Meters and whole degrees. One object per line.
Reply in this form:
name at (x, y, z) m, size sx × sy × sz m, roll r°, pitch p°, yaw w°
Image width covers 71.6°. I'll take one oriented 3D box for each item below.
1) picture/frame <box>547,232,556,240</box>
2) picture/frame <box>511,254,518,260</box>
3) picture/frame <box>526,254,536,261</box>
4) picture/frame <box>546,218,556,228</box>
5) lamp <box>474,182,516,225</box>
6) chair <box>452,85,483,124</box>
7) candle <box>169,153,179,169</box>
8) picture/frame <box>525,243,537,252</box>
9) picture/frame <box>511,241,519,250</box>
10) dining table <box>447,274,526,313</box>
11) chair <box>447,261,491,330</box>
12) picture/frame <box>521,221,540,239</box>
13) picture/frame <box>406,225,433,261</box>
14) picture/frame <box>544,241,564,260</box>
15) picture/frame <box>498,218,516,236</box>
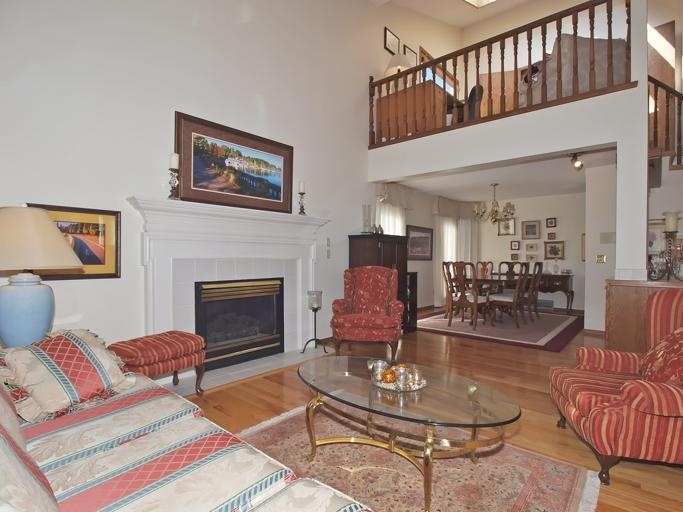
picture/frame at (4.299, -0.412, 9.698) m, size 0.011 × 0.135 × 0.138 m, roll 4°, pitch -1°, yaw -37°
picture/frame at (3.748, 0.011, 10.275) m, size 0.012 × 0.118 × 0.115 m, roll 2°, pitch 0°, yaw -33°
picture/frame at (3.961, 0.032, 9.935) m, size 0.093 × 0.146 × 0.253 m, roll -6°, pitch 12°, yaw -33°
picture/frame at (4.297, -0.684, 9.713) m, size 0.018 × 0.186 × 0.171 m, roll 10°, pitch 2°, yaw -41°
lamp at (2.881, -0.924, 9.019) m, size 0.843 × 0.763 × 0.836 m, roll 2°, pitch 6°, yaw 34°
chair at (1.689, -2.058, 6.445) m, size 0.338 × 0.537 × 1.084 m, roll 3°, pitch 10°, yaw 12°
candle at (-1.614, -0.908, 4.548) m, size 0.073 × 0.153 × 0.115 m, roll -1°, pitch 11°, yaw -12°
picture/frame at (3.998, -0.182, 9.980) m, size 0.023 × 0.123 × 0.161 m, roll -5°, pitch 7°, yaw -41°
picture/frame at (3.759, -0.231, 10.257) m, size 0.021 × 0.206 × 0.191 m, roll 5°, pitch -2°, yaw -29°
dining table at (2.316, 0.619, 7.584) m, size 0.974 × 0.688 × 0.989 m, roll -1°, pitch 2°, yaw 29°
chair at (2.008, 0.564, 7.562) m, size 0.752 × 1.066 × 0.802 m, roll -3°, pitch 9°, yaw -4°
picture/frame at (3.997, -0.548, 9.979) m, size 0.031 × 0.456 × 0.381 m, roll 3°, pitch -1°, yaw -36°
picture/frame at (1.484, -0.262, 9.206) m, size 0.025 × 0.528 × 0.735 m, roll -2°, pitch -3°, yaw 36°
picture/frame at (4.337, -0.113, 9.642) m, size 0.039 × 0.380 × 0.359 m, roll 6°, pitch -4°, yaw -41°
picture/frame at (3.570, -0.632, 10.199) m, size 0.031 × 0.325 × 0.322 m, roll -4°, pitch 7°, yaw -35°
